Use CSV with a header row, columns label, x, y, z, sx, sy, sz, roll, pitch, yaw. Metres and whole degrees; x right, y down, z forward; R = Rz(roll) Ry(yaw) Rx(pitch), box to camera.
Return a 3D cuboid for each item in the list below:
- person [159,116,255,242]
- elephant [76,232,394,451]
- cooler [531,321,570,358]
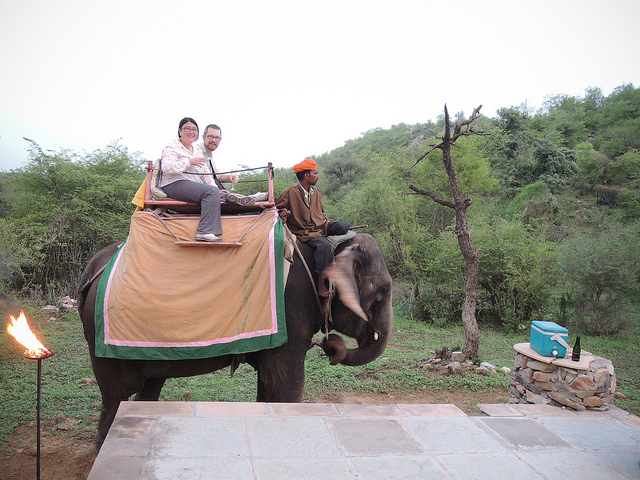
label,x,y,z,sx,sy,sz,roll,pitch,yaw
person,-1.627,-0.778,5.702,0.697,1.429,1.286,0,10,-20
elephant,-1.014,1.206,5.888,3.869,2.674,1.611,0,10,-20
cooler,3.438,1.498,6.852,0.332,0.406,0.614,2,-1,6
